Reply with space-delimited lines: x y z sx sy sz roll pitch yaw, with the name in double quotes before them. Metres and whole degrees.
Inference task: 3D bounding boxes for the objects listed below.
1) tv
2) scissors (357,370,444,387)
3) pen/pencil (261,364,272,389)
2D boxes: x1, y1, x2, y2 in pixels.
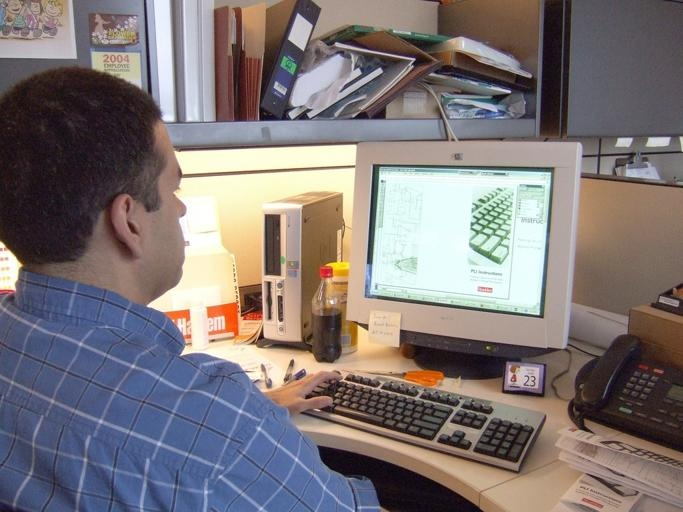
"tv" 0.313 0.000 1.399 0.561 0.589 0.301 4 9 22
"scissors" 0.154 0.296 1.390 0.204 0.016 0.068 5 9 15
"pen/pencil" -0.194 0.313 1.416 0.017 0.017 0.096 -21 31 0
